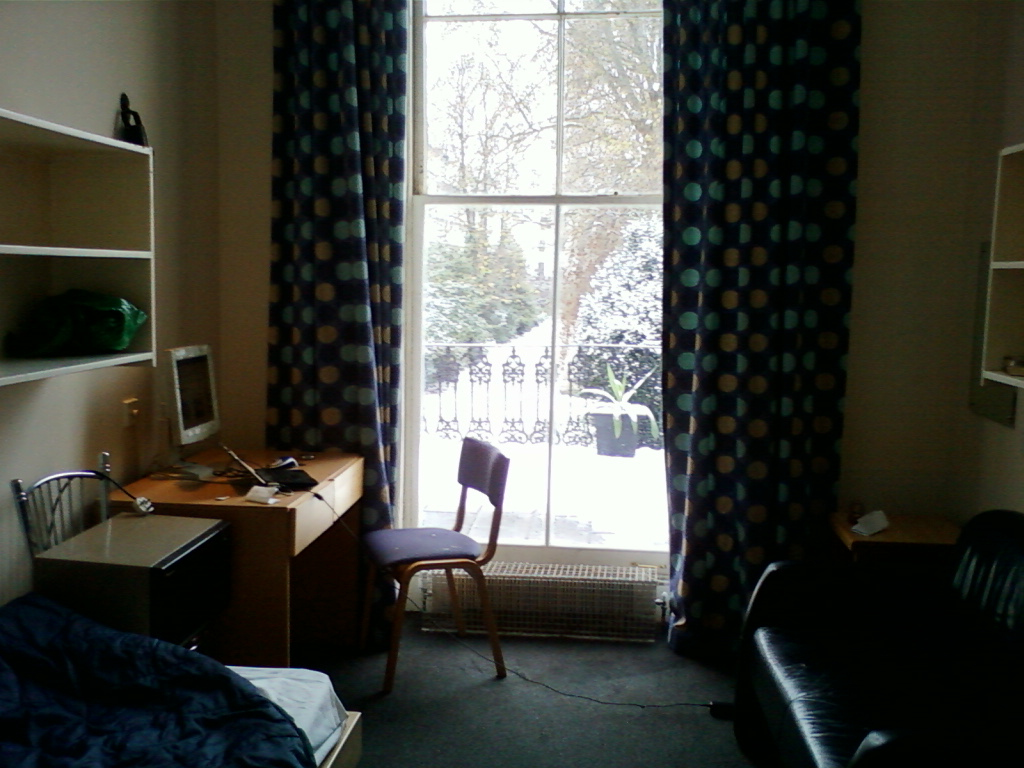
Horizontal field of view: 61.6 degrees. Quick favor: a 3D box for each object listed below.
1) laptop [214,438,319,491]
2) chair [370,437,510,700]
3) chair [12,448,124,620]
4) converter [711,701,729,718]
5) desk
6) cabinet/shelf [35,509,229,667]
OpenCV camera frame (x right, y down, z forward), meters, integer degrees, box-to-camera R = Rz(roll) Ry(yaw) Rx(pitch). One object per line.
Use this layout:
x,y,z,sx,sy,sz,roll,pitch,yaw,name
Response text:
-0.960,0.328,3.355,0.351,0.127,0.191,5,15,-25,laptop
-0.325,0.731,3.719,0.610,0.973,0.725,1,5,-12,chair
-1.606,0.511,3.033,0.341,0.625,0.356,3,12,14,chair
0.813,1.266,3.335,0.080,0.043,0.083,3,4,12,converter
-1.058,0.609,3.644,0.816,1.000,1.069,2,9,3,desk
-1.292,0.652,2.920,0.468,0.339,0.454,4,10,3,cabinet/shelf
